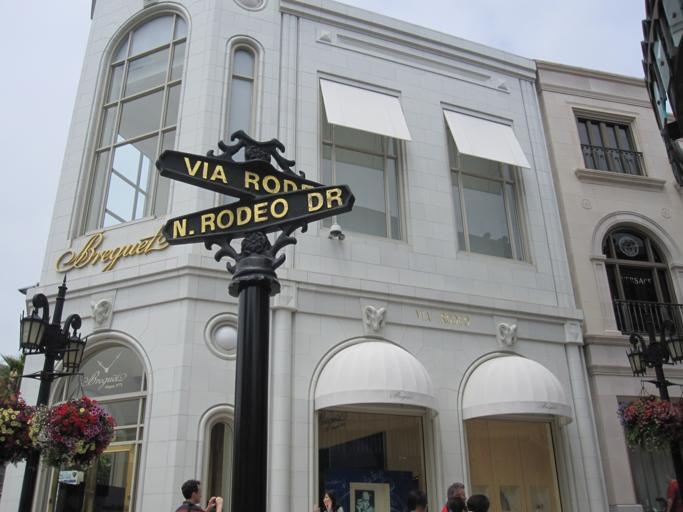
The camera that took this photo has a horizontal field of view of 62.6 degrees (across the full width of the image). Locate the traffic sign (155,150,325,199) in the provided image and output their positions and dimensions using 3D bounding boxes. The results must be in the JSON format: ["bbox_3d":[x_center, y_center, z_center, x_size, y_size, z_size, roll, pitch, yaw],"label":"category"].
[{"bbox_3d":[-1.794,-1.266,8.962,1.842,0.414,0.380,14,5,-13],"label":"traffic sign"}]

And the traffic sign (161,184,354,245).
[{"bbox_3d":[-1.100,-0.559,7.464,2.503,0.650,0.242,-7,-26,5],"label":"traffic sign"}]
